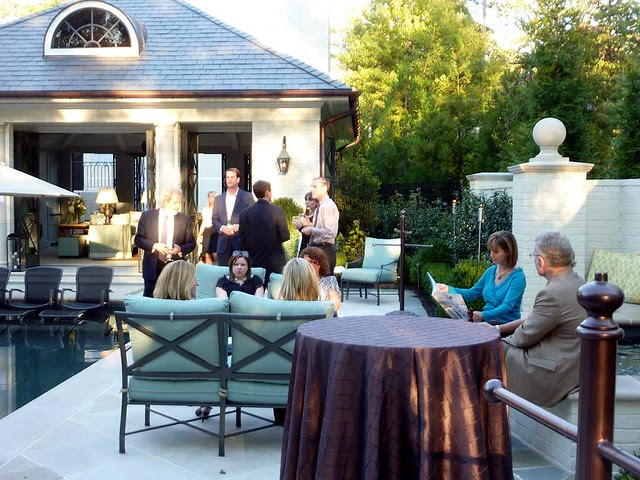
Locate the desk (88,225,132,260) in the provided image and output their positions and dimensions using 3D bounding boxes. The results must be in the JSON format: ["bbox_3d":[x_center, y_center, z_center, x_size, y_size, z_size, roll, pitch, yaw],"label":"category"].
[{"bbox_3d":[-4.869,0.052,15.439,0.769,0.771,0.821,0,0,3],"label":"desk"}]

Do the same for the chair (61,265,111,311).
[{"bbox_3d":[-3.826,0.757,10.711,0.729,0.953,0.724,-2,-14,-1],"label":"chair"}]

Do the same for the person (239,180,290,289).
[{"bbox_3d":[-0.727,0.085,8.146,0.552,1.752,0.523,4,21,0],"label":"person"}]

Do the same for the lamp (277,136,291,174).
[{"bbox_3d":[-0.715,-1.625,12.558,0.274,0.730,0.315,-1,6,-4],"label":"lamp"}]

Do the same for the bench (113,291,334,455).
[{"bbox_3d":[-0.884,0.920,5.638,1.718,1.520,1.183,0,0,2],"label":"bench"}]

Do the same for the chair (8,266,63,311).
[{"bbox_3d":[-4.608,0.788,10.834,0.769,0.786,0.764,0,-8,0],"label":"chair"}]

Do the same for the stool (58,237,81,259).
[{"bbox_3d":[-5.972,0.172,15.783,0.440,0.493,0.468,1,4,2],"label":"stool"}]

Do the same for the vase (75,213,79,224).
[{"bbox_3d":[-6.245,-0.563,16.937,0.110,0.213,0.133,4,7,39],"label":"vase"}]

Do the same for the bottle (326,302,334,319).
[{"bbox_3d":[0.071,0.543,5.099,0.111,0.094,0.160,3,-14,1],"label":"bottle"}]
